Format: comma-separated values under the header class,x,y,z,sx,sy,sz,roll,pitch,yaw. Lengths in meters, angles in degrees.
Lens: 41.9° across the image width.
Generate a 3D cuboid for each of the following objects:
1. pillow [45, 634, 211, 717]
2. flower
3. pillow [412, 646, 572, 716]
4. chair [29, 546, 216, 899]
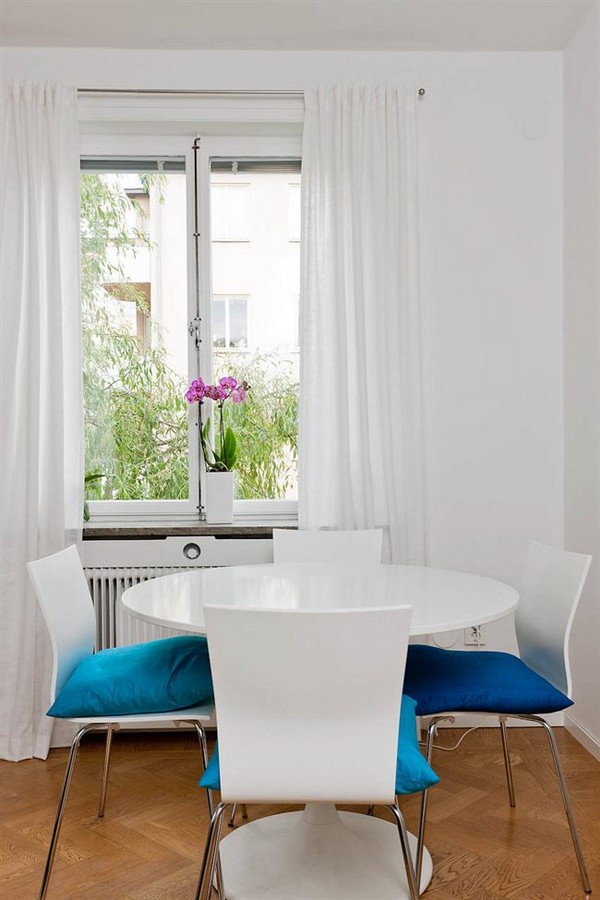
class,x,y,z,sx,sy,sz,roll,pitch,yaw
pillow,-0.384,0.541,1.872,0.361,0.086,0.283,-1,6,-3
flower,-0.298,-0.095,2.905,0.229,0.352,0.293,-1,6,-5
pillow,0.434,0.560,1.944,0.378,0.079,0.381,-1,6,1
chair,-0.372,0.641,2.184,0.626,1.035,0.621,-1,-2,-2
